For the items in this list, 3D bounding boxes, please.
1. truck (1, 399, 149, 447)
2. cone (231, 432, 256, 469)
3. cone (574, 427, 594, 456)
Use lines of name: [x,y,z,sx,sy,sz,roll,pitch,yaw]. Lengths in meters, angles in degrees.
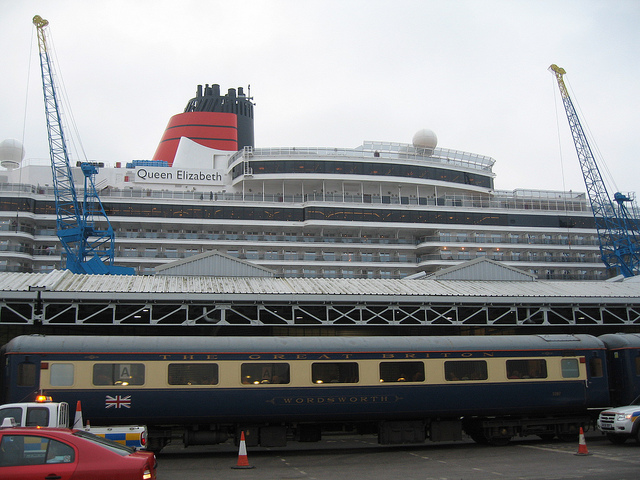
truck: [-7.723,5.634,24.662,3.807,1.463,2.126,2,-13,-4]
cone: [-2.494,7.004,25.976,0.806,1.354,0.809,3,13,-4]
cone: [9.343,7.149,27.566,0.555,0.900,0.986,9,13,20]
